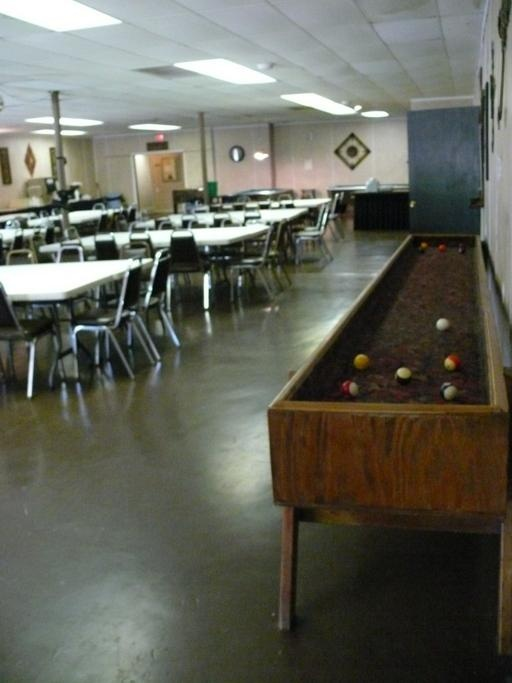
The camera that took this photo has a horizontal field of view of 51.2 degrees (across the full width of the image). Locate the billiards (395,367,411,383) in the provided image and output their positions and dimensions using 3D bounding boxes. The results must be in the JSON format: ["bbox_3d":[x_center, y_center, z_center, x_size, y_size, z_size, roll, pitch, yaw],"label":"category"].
[{"bbox_3d":[0.427,0.099,1.551,0.040,0.034,0.040,-28,42,-25],"label":"billiards"}]

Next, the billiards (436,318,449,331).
[{"bbox_3d":[0.778,-0.080,2.223,0.043,0.031,0.056,12,55,27],"label":"billiards"}]
